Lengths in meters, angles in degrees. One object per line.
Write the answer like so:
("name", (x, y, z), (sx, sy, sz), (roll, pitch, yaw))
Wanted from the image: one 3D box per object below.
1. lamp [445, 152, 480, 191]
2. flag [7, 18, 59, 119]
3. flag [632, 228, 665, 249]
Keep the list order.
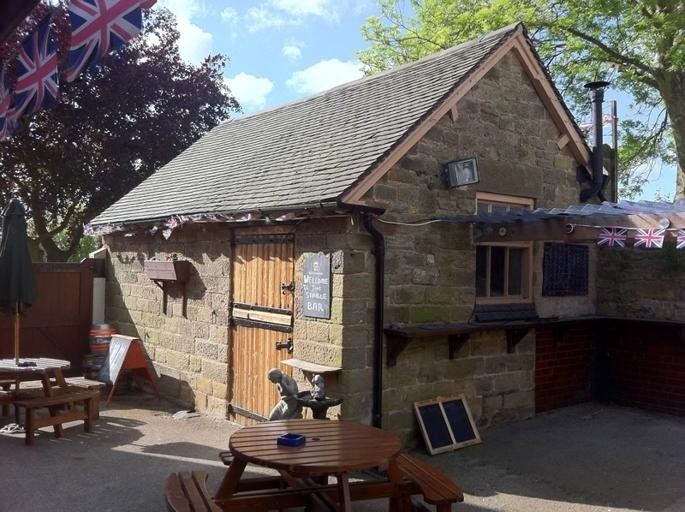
("lamp", (1.855, -1.318, 9.186), (0.508, 0.470, 0.260), (0, -4, 10))
("flag", (-3.626, -2.352, 6.952), (0.486, 1.237, 1.205), (2, -4, -29))
("flag", (3.952, -0.233, 7.590), (0.356, 0.247, 0.267), (-2, -4, 30))
